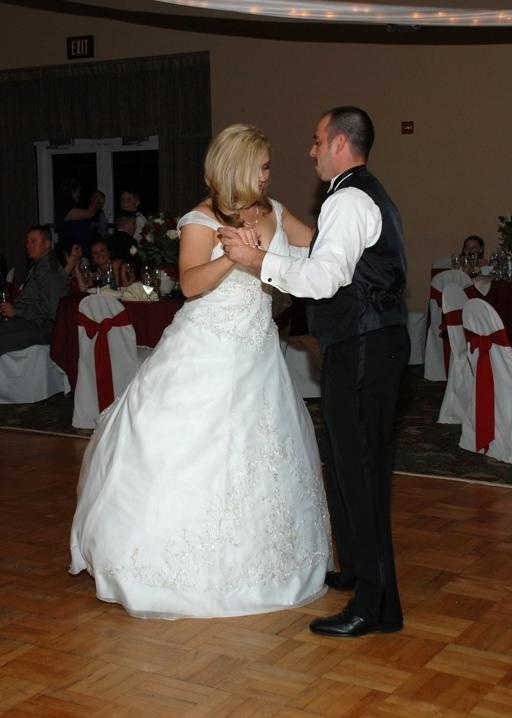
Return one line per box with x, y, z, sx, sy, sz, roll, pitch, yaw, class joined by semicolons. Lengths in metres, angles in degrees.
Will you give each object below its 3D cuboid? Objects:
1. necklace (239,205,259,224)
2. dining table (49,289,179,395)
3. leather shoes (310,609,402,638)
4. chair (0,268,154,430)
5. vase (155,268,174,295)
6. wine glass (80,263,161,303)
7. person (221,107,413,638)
-0.020;-0.389;1.650;0.048;0.063;0.024;-26;29;-30;necklace
-1.055;-0.089;4.561;0.824;0.581;0.803;-1;-1;3;dining table
0.266;0.704;1.655;0.241;0.102;0.092;2;-8;2;leather shoes
-0.987;-0.104;4.276;1.025;1.124;0.899;1;5;6;chair
-0.660;-0.569;4.398;0.163;0.169;0.163;-1;-5;-5;vase
-0.949;-0.508;4.517;0.387;0.174;0.503;1;3;1;wine glass
0.211;0.062;1.563;0.356;1.358;0.547;-1;-1;22;person
